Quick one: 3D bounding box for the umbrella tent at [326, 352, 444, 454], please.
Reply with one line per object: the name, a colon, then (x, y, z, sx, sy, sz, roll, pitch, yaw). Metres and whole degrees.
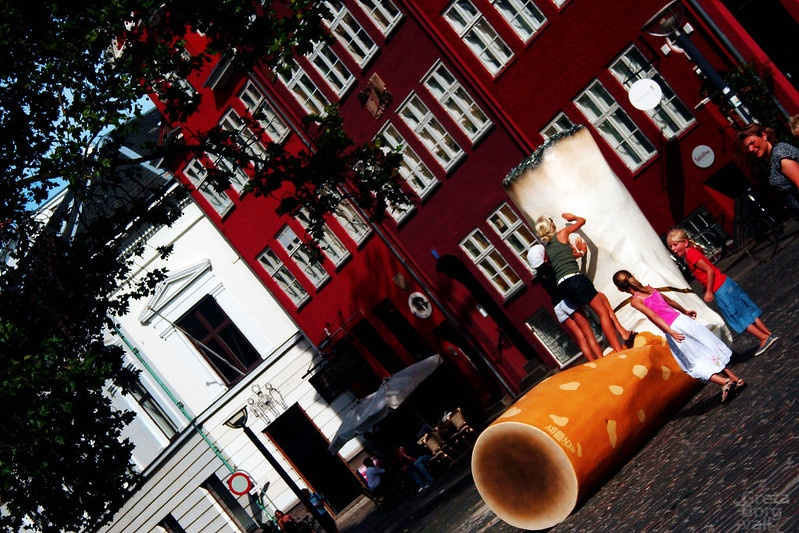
umbrella tent: (-0.434, 4.478, 27.674, 2.982, 0.777, 2.990, -56, -2, 25)

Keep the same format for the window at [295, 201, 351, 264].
window: (-2.321, -1.155, 28.720, 0.949, 1.939, 0.090, -38, -4, 29)

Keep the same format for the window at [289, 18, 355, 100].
window: (-2.272, -6.524, 28.274, 0.232, 2.546, 2.128, -25, -16, -49)

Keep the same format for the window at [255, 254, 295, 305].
window: (-4.507, 0.393, 33.551, 0.260, 1.658, 1.571, -32, 1, 17)

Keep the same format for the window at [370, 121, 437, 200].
window: (0.164, -3.376, 27.921, 1.651, 2.411, 0.165, -41, -4, 36)

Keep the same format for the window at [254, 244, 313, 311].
window: (-4.112, 0.283, 32.995, 0.862, 2.387, 0.232, -32, 2, 6)

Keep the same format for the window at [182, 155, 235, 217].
window: (-6.315, -2.752, 30.486, 0.990, 2.042, 0.115, -37, -5, 7)

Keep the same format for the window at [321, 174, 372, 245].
window: (-1.562, -1.801, 28.099, 0.810, 2.364, 0.225, -34, -11, 11)

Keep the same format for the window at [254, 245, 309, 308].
window: (-4.206, 0.270, 33.223, 0.798, 2.248, 0.225, -32, 2, 6)

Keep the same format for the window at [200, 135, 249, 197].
window: (-5.884, -3.368, 32.016, 0.519, 2.316, 2.128, -36, -7, -8)

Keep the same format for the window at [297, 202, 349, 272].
window: (-2.344, -1.029, 29.113, 1.063, 2.227, 0.121, -35, -2, 29)

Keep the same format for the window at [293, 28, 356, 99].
window: (-2.247, -6.504, 28.859, 0.148, 2.344, 1.248, -21, -18, -51)

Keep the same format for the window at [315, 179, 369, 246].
window: (-1.691, -1.714, 28.095, 0.849, 2.161, 0.295, -40, -16, 15)

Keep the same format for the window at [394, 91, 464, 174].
window: (1.046, -4.483, 29.485, 0.167, 2.362, 2.217, -30, -6, -39)

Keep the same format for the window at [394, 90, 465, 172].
window: (1.049, -4.516, 29.466, 0.175, 2.462, 2.278, -31, -3, -35)

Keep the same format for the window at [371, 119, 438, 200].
window: (0.191, -3.420, 28.022, 0.398, 2.753, 2.540, -41, 16, -31)

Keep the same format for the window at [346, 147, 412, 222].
window: (-0.562, -2.345, 24.739, 1.374, 1.954, 1.876, -36, 1, -15)

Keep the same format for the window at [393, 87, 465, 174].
window: (1.046, -4.535, 29.453, 0.192, 2.795, 2.481, -31, 3, -33)

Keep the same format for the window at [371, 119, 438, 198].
window: (0.196, -3.458, 28.064, 0.309, 2.281, 2.199, -40, 1, -36)

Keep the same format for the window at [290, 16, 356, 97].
window: (-2.231, -6.590, 28.181, 0.256, 2.873, 1.521, -22, -17, -51)

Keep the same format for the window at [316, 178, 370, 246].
window: (-1.658, -1.729, 28.061, 0.810, 2.340, 0.239, -34, -11, 9)
